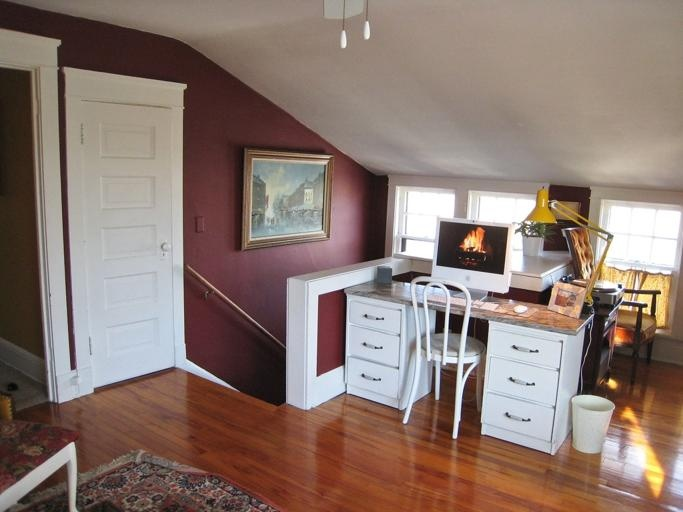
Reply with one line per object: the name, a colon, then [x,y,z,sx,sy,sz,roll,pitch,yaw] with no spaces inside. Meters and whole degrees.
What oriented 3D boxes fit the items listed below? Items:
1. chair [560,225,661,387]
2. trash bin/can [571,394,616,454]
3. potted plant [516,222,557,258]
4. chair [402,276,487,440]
chair: [2.682,0.458,5.338,0.907,1.430,0.867,3,8,27]
trash bin/can: [1.784,1.207,3.845,0.268,0.348,0.301,9,11,25]
potted plant: [1.941,-0.202,5.434,0.330,0.334,0.270,1,-9,6]
chair: [0.794,0.695,4.080,0.605,1.164,0.607,-2,10,-8]
